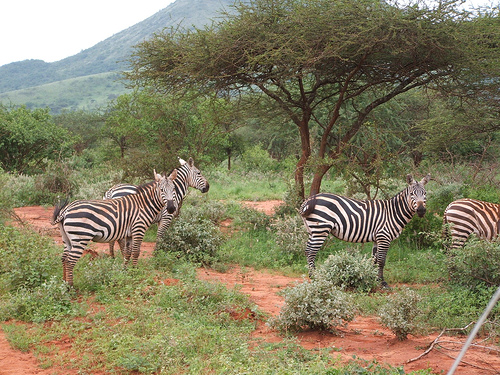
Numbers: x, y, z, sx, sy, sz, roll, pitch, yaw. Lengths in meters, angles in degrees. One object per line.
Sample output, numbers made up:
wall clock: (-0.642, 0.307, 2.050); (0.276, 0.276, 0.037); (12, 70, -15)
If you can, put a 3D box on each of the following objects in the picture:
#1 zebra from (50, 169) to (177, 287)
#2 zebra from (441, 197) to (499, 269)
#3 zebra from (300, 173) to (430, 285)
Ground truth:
zebra: (-3.352, 1.120, 13.230); (3.347, 2.481, 0.957); (-8, 5, -35)
zebra: (5.392, 1.151, 12.727); (1.309, 1.345, 2.033); (5, 3, 23)
zebra: (3.850, 0.816, 15.431); (4.596, 4.191, 1.770); (-1, 0, -1)
